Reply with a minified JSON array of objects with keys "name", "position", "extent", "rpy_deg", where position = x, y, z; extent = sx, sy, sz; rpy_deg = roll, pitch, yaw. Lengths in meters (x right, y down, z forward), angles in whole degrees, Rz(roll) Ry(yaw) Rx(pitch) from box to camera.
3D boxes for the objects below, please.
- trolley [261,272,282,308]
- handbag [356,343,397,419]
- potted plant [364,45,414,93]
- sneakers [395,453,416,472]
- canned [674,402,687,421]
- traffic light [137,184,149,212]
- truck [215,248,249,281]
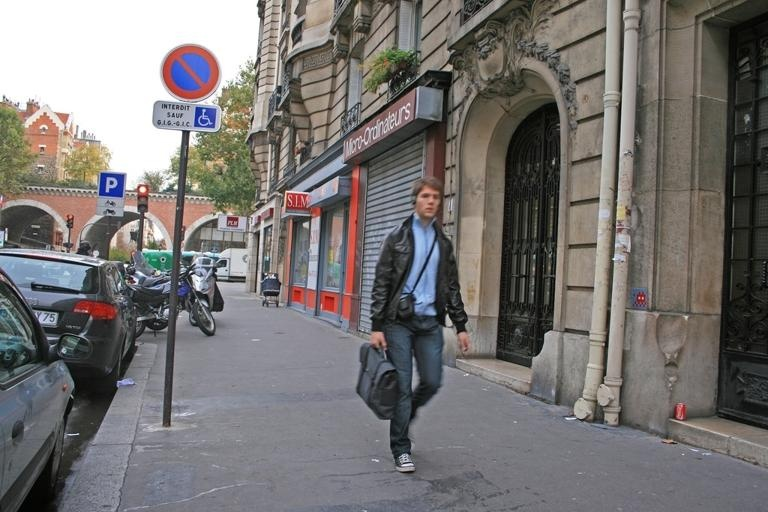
[{"name":"trolley","position":[-4.079,0.887,23.270],"extent":[0.666,1.094,1.923],"rpy_deg":[4,13,-11]},{"name":"handbag","position":[-0.071,1.146,5.802],"extent":[0.254,0.683,0.457],"rpy_deg":[-1,3,-40]},{"name":"potted plant","position":[0.131,-3.967,13.403],"extent":[0.664,0.896,1.236],"rpy_deg":[0,3,-30]},{"name":"sneakers","position":[0.195,1.858,5.811],"extent":[0.188,0.164,0.164],"rpy_deg":[1,2,2]},{"name":"canned","position":[3.189,1.661,6.864],"extent":[0.123,0.169,0.092],"rpy_deg":[2,2,14]},{"name":"traffic light","position":[-6.237,-1.499,16.501],"extent":[0.252,0.736,0.890],"rpy_deg":[0,2,-23]},{"name":"truck","position":[-11.995,0.705,50.572],"extent":[3.435,3.332,2.676],"rpy_deg":[1,-1,-4]}]
